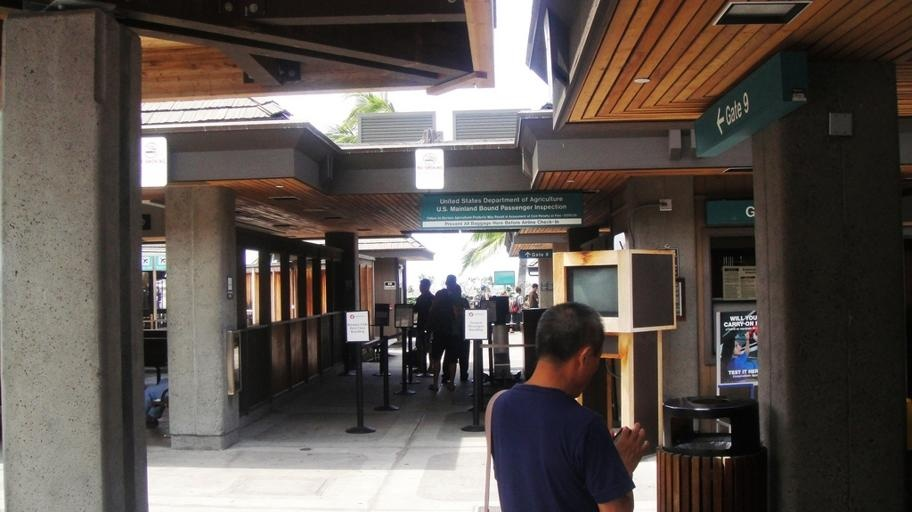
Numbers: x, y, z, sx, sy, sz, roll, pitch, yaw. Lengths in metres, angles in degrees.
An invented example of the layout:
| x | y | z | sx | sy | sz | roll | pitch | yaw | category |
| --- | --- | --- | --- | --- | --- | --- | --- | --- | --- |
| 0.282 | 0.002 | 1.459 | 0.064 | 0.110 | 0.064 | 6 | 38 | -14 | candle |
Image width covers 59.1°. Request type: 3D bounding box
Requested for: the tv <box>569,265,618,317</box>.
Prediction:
| x | y | z | sx | sy | sz | roll | pitch | yaw | category |
| --- | --- | --- | --- | --- | --- | --- | --- | --- | --- |
| 1.781 | 0.441 | 10.268 | 0.764 | 0.671 | 0.373 | 0 | 0 | 38 | tv |

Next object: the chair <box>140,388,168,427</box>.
| x | y | z | sx | sy | sz | roll | pitch | yaw | category |
| --- | --- | --- | --- | --- | --- | --- | --- | --- | --- |
| -4.824 | 2.450 | 12.932 | 0.311 | 0.695 | 0.382 | -2 | 5 | -24 | chair |
